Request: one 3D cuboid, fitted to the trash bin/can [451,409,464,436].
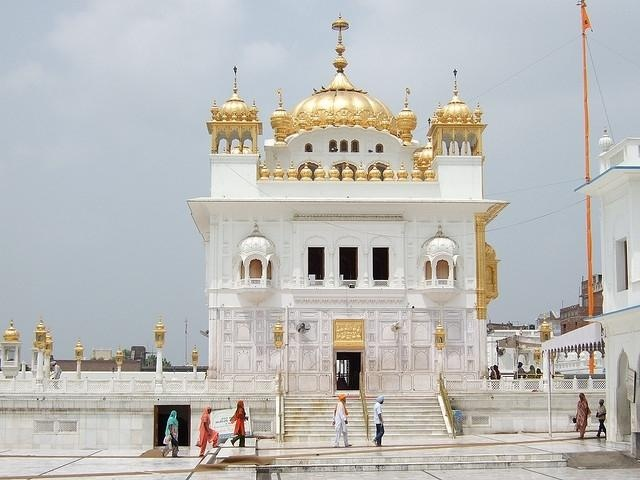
[{"bbox_3d":[5.109,6.721,54.843,0.722,1.020,0.715,1,-8,-6],"label":"trash bin/can"}]

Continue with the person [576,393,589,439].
[{"bbox_3d":[9.270,6.152,52.062,0.488,1.659,1.590,-3,-11,10],"label":"person"}]
